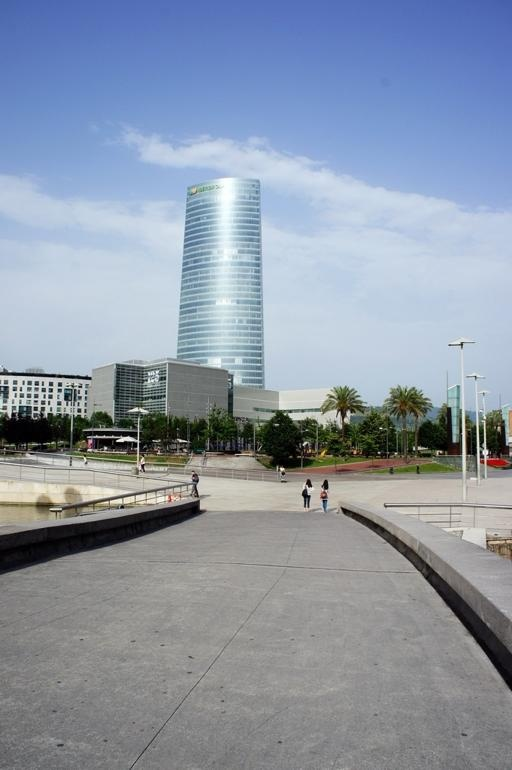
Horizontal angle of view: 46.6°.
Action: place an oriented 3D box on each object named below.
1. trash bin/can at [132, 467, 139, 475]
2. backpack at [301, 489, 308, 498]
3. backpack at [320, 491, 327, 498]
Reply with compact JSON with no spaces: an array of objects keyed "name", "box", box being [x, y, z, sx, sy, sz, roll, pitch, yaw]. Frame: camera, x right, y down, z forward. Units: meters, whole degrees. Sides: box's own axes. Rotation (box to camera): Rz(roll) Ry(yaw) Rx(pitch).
[{"name":"trash bin/can","box":[-9.573,6.892,47.320,0.564,0.781,1.028,0,-5,-10]},{"name":"backpack","box":[2.231,4.896,26.813,0.234,0.380,0.639,-1,-5,4]},{"name":"backpack","box":[3.023,4.917,26.457,0.216,0.372,0.813,-2,-5,11]}]
